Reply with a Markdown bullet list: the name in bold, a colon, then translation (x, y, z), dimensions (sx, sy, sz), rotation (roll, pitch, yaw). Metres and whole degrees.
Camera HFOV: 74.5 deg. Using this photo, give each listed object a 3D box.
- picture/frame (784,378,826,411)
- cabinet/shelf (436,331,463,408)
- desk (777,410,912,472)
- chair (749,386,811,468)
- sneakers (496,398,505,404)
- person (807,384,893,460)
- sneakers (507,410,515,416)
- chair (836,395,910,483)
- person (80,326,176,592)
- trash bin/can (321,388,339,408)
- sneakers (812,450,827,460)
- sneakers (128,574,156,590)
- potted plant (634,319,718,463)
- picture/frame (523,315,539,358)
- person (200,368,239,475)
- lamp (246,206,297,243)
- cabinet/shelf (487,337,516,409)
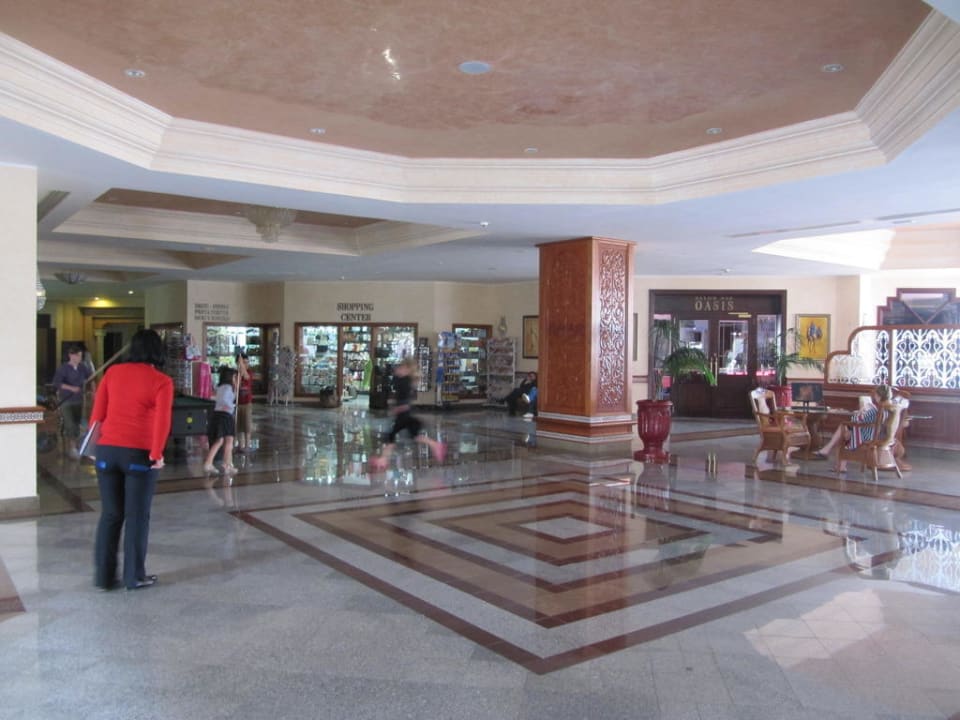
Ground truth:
- **picture/frame**: translation (7.320, 0.780, 14.215), dimensions (0.691, 0.485, 0.105), rotation (5, 10, 34)
- **cabinet/shelf**: translation (-0.987, 0.304, 18.860), dimensions (0.833, 2.333, 0.264), rotation (3, -7, -29)
- **desk**: translation (5.731, 1.138, 10.018), dimensions (1.018, 0.999, 1.734), rotation (2, 2, -29)
- **chair**: translation (5.077, 1.096, 10.561), dimensions (0.941, 1.153, 0.967), rotation (2, -1, -8)
- **sneakers**: translation (0.579, 1.246, 18.883), dimensions (0.283, 0.162, 0.215), rotation (1, 2, 0)
- **person**: translation (5.738, 0.987, 9.858), dimensions (0.738, 1.325, 0.599), rotation (8, 16, 36)
- **sneakers**: translation (0.846, 1.433, 17.045), dimensions (0.170, 0.118, 0.093), rotation (5, 9, 30)
- **chair**: translation (5.922, 1.098, 9.488), dimensions (0.732, 1.306, 1.254), rotation (3, 3, 44)
- **person**: translation (-2.699, 0.768, 4.891), dimensions (0.634, 2.001, 0.436), rotation (2, 3, 37)
- **trash bin/can**: translation (-4.466, 1.104, 18.786), dimensions (0.540, 0.579, 0.535), rotation (-1, 5, -15)
- **sneakers**: translation (5.861, 1.627, 10.815), dimensions (0.391, 0.136, 0.139), rotation (-3, -9, -7)
- **sneakers**: translation (-2.637, 1.734, 4.937), dimensions (0.063, 0.079, 0.187), rotation (11, 15, 41)
- **potted plant**: translation (3.218, 0.453, 10.917), dimensions (1.192, 2.583, 1.637), rotation (10, -6, -33)
- **picture/frame**: translation (1.436, -0.695, 17.766), dimensions (0.144, 1.352, 1.171), rotation (-1, 5, -22)
- **person**: translation (-3.862, 0.834, 9.339), dimensions (0.419, 1.521, 1.677), rotation (0, 2, -23)
- **lamp**: translation (-3.627, -2.382, 10.877), dimensions (0.669, 0.261, 0.656), rotation (-2, -5, 13)
- **cabinet/shelf**: translation (0.614, 0.283, 18.970), dimensions (1.045, 1.976, 0.305), rotation (3, 3, 43)
